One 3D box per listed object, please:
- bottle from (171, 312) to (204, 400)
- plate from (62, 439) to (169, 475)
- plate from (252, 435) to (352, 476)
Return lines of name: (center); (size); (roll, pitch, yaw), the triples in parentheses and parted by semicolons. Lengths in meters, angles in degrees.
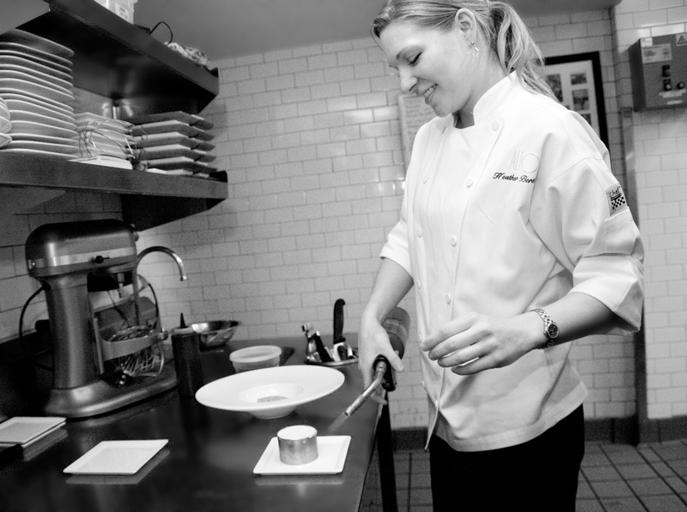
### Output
bottle: (-0.628, 0.430, 2.237); (0.097, 0.284, 0.081); (-7, 13, -11)
plate: (-0.733, 0.653, 1.807); (0.254, 0.026, 0.197); (-1, 13, 11)
plate: (-0.125, 0.621, 1.724); (0.276, 0.026, 0.183); (-2, 13, 6)
